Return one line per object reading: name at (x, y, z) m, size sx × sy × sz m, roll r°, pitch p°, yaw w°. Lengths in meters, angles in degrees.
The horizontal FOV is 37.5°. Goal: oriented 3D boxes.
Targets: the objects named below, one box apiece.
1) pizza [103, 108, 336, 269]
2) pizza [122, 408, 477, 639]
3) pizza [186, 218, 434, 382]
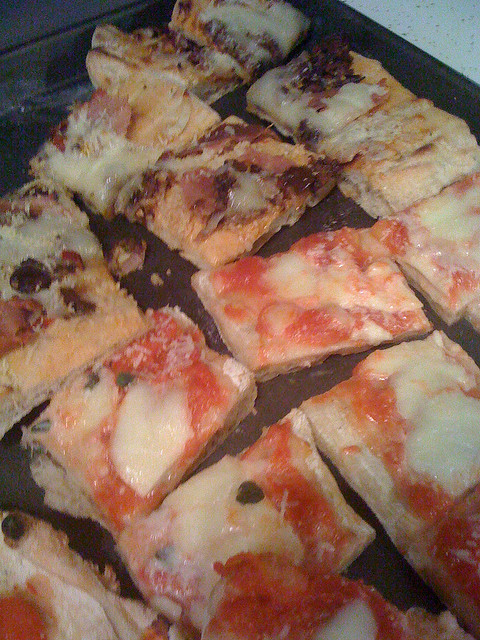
pizza at (-0.040, -0.321, 1.839) m, size 0.422 × 0.116 × 0.435 m, roll -43°, pitch 72°, yaw -9°
pizza at (0.095, 0.541, 1.537) m, size 0.522 × 0.258 × 0.579 m, roll -22°, pitch 53°, yaw -27°
pizza at (0.185, -0.021, 1.811) m, size 0.572 × 0.147 × 0.349 m, roll -17°, pitch 65°, yaw -2°
